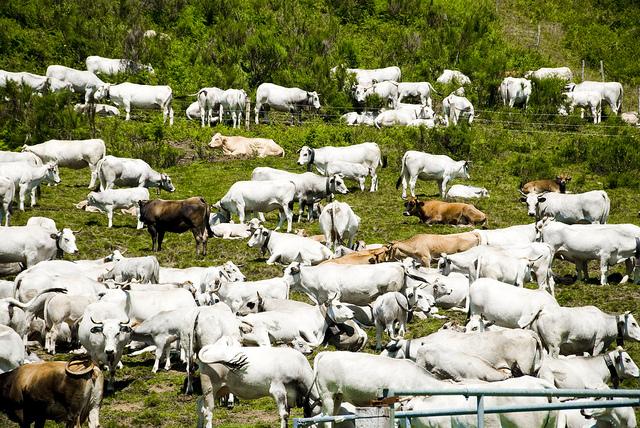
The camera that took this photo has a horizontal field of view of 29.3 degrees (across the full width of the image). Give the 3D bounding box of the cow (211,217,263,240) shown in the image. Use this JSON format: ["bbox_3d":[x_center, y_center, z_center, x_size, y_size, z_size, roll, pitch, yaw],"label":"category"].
[{"bbox_3d":[-4.026,0.675,58.721,2.218,1.036,1.048,-1,0,-6],"label":"cow"}]

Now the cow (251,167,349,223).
[{"bbox_3d":[-1.072,-0.924,60.582,4.558,2.625,1.374,3,5,-2],"label":"cow"}]

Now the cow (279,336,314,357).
[{"bbox_3d":[-0.916,5.334,50.174,1.368,0.793,0.555,1,0,1],"label":"cow"}]

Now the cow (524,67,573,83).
[{"bbox_3d":[14.409,-8.837,77.703,3.165,0.764,1.680,0,32,-1],"label":"cow"}]

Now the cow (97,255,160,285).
[{"bbox_3d":[-8.457,2.703,54.167,2.815,1.564,0.845,-5,-6,11],"label":"cow"}]

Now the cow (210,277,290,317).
[{"bbox_3d":[-2.986,3.521,52.991,3.338,1.864,1.401,-2,-17,1],"label":"cow"}]

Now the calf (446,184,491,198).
[{"bbox_3d":[7.630,-1.092,63.185,2.035,1.125,0.836,-1,7,-6],"label":"calf"}]

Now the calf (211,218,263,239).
[{"bbox_3d":[-3.940,0.610,58.733,2.090,0.960,1.053,-2,0,-6],"label":"calf"}]

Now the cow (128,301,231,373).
[{"bbox_3d":[-6.141,5.066,50.830,3.879,2.123,1.158,-7,-11,18],"label":"cow"}]

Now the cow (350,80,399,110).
[{"bbox_3d":[3.555,-7.484,75.190,3.298,1.806,1.434,1,-5,-15],"label":"cow"}]

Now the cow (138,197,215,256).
[{"bbox_3d":[-6.899,0.518,58.074,4.321,2.602,1.279,1,1,25],"label":"cow"}]

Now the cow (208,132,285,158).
[{"bbox_3d":[-3.910,-3.497,68.352,3.988,1.534,1.650,4,-25,3],"label":"cow"}]

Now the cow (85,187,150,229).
[{"bbox_3d":[-9.814,-0.724,59.466,3.695,2.297,1.397,0,-7,-12],"label":"cow"}]

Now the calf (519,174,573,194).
[{"bbox_3d":[11.558,-1.728,62.669,2.369,1.221,1.051,-4,-5,13],"label":"calf"}]

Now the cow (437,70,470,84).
[{"bbox_3d":[8.593,-8.681,78.040,2.090,1.119,0.711,12,1,2],"label":"cow"}]

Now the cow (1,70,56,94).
[{"bbox_3d":[-16.477,-7.543,69.381,2.827,0.810,2.338,0,17,-15],"label":"cow"}]

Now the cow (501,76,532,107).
[{"bbox_3d":[12.230,-7.384,75.244,2.683,1.994,1.319,-8,10,-40],"label":"cow"}]

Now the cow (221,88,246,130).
[{"bbox_3d":[-5.109,-6.276,72.091,1.415,2.308,3.792,1,6,-15],"label":"cow"}]

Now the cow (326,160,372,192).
[{"bbox_3d":[1.716,-1.979,63.181,2.686,1.557,0.810,1,6,-9],"label":"cow"}]

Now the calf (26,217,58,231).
[{"bbox_3d":[-12.763,0.461,56.769,1.578,0.885,0.599,8,2,29],"label":"calf"}]

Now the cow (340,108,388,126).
[{"bbox_3d":[2.667,-5.760,72.328,2.631,1.442,0.987,-2,4,-12],"label":"cow"}]

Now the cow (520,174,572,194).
[{"bbox_3d":[11.534,-1.648,62.655,2.285,0.977,1.021,-2,-3,12],"label":"cow"}]

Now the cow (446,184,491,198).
[{"bbox_3d":[7.626,-1.133,63.142,2.035,1.096,0.826,-2,4,-7],"label":"cow"}]

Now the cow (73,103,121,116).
[{"bbox_3d":[-12.555,-6.065,70.521,2.687,0.888,1.614,-3,17,-23],"label":"cow"}]

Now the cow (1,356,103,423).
[{"bbox_3d":[-10.306,6.692,47.552,3.732,2.653,0.741,4,15,2],"label":"cow"}]

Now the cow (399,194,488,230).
[{"bbox_3d":[6.208,-0.218,60.921,4.423,1.684,1.519,4,-5,16],"label":"cow"}]

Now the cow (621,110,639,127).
[{"bbox_3d":[18.881,-5.965,74.578,0.985,0.531,1.298,-11,20,12],"label":"cow"}]
